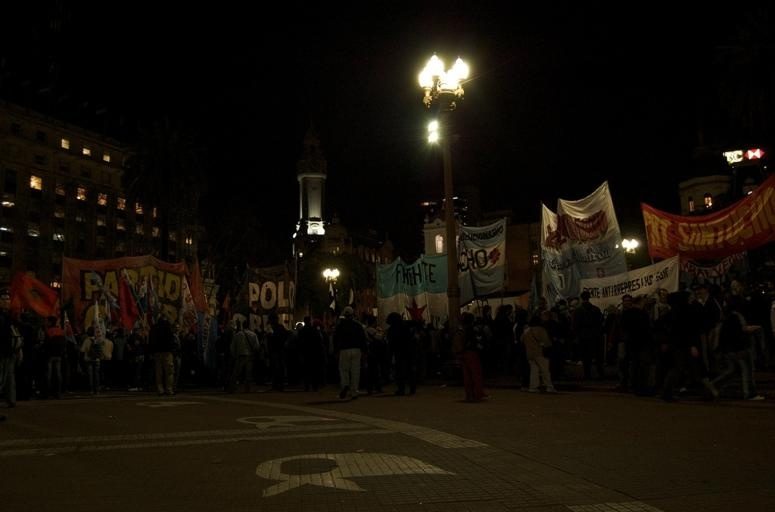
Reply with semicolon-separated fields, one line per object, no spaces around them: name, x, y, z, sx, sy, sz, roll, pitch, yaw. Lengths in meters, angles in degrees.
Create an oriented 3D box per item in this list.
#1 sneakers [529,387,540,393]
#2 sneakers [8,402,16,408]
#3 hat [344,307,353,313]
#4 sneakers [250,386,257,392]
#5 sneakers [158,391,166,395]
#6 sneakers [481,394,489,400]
sneakers;4.080;3.673;23.524;0.299;0.225;0.106;-2;1;7
sneakers;-9.916;3.864;22.369;0.139;0.055;0.146;5;9;-1
hat;-1.125;1.518;24.215;0.173;0.175;0.186;-1;-1;-16
sneakers;-4.507;4.387;28.278;0.206;0.285;0.398;-4;-8;3
sneakers;-6.975;4.184;26.162;0.154;0.123;0.169;0;-3;-30
sneakers;2.540;3.639;22.021;0.124;0.136;0.458;-6;-16;14
